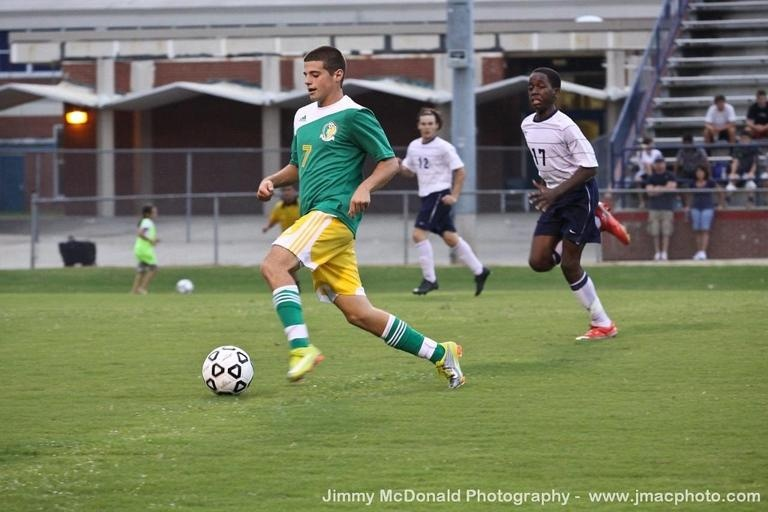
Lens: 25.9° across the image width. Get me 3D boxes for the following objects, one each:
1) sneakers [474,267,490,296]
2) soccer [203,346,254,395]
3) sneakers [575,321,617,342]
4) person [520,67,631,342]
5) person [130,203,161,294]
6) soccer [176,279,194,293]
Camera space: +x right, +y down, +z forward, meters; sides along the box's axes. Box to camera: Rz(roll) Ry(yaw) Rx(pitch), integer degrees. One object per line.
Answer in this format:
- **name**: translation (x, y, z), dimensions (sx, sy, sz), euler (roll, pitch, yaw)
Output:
- **sneakers**: translation (1.431, 0.348, 23.609), dimensions (0.217, 0.434, 0.165), euler (12, 9, 2)
- **soccer**: translation (-1.817, 1.315, 19.014), dimensions (0.615, 0.556, 0.601), euler (7, 0, -35)
- **sneakers**: translation (2.709, 0.951, 20.635), dimensions (0.604, 0.215, 0.192), euler (-3, -6, -1)
- **person**: translation (2.363, -0.643, 20.560), dimensions (1.125, 3.361, 0.906), euler (-2, 5, -7)
- **person**: translation (-3.667, -0.104, 25.610), dimensions (0.436, 1.284, 2.070), euler (-2, 5, -8)
- **soccer**: translation (-2.982, 0.475, 25.243), dimensions (0.222, 0.204, 0.212), euler (-27, 28, -31)
